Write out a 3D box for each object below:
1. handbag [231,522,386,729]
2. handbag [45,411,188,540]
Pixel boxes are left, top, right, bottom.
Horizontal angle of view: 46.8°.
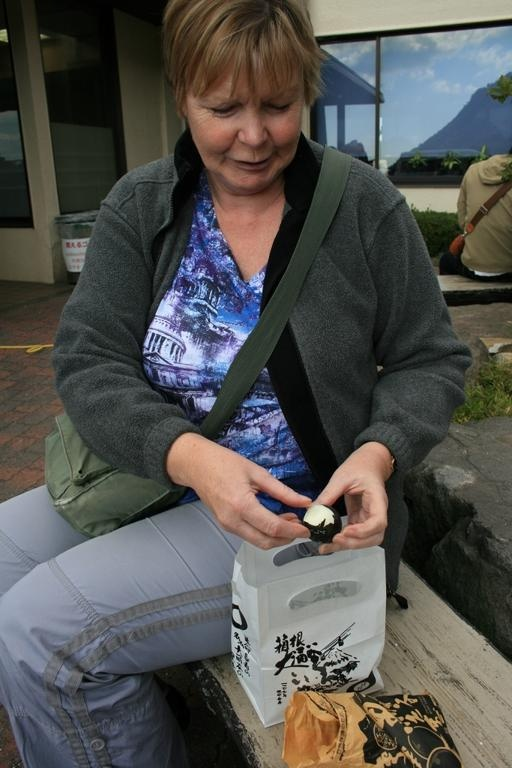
[{"bbox_3d":[0.108,0.465,1.123,0.294,0.394,0.134,-8,19,-12],"label":"handbag"},{"bbox_3d":[-0.410,0.246,1.479,0.299,0.106,0.295,-13,18,-37],"label":"handbag"}]
